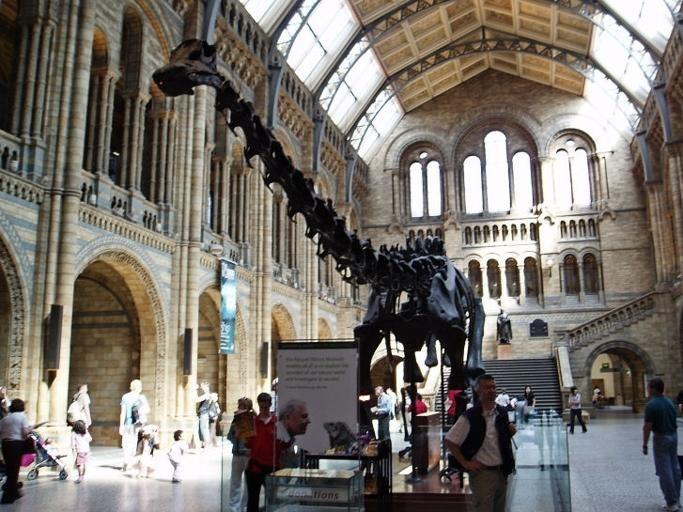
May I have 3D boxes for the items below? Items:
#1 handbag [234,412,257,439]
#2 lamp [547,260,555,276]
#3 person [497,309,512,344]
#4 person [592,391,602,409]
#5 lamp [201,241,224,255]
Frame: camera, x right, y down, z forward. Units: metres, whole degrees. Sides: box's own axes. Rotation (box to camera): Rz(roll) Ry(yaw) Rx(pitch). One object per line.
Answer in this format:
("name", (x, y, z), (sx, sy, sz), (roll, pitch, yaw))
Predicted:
("handbag", (-1.255, 2.180, 8.404), (0.364, 0.329, 0.087), (-3, -4, 33))
("lamp", (11.536, 0.627, 36.086), (0.363, 0.880, 0.269), (-5, -13, 12))
("person", (8.423, 3.659, 33.960), (0.663, 1.827, 0.614), (-1, -13, -5))
("person", (14.533, 8.116, 37.185), (0.456, 0.989, 1.274), (-7, -13, 20))
("lamp", (-4.237, -0.319, 21.062), (0.529, 0.266, 0.418), (15, -6, 30))
